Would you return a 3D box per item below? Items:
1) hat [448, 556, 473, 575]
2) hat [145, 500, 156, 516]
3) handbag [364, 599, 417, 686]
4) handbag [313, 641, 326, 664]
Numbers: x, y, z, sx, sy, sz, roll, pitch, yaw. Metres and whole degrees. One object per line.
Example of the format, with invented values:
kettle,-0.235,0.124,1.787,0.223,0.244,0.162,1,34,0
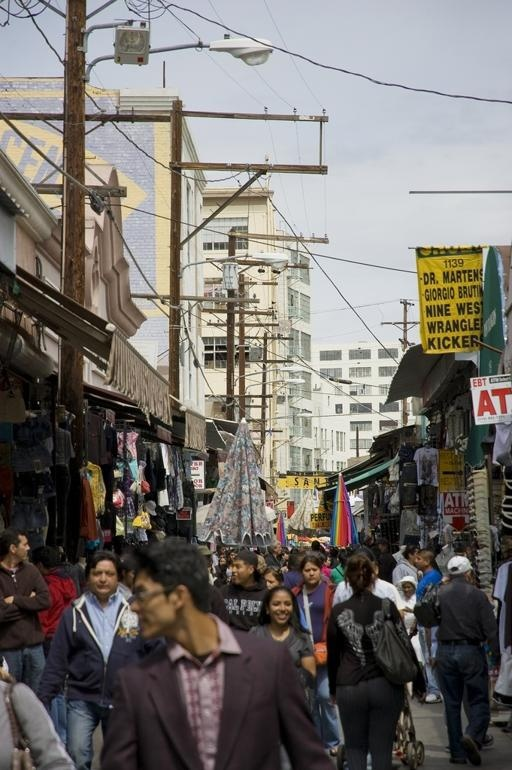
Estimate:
hat,1.694,1.534,9.454,0.129,0.119,0.219,4,14,22
hat,-1.458,1.703,15.623,0.071,0.159,0.162,-31,-55,15
handbag,0.824,1.567,6.839,0.283,0.513,0.389,-2,-9,7
handbag,0.476,1.980,8.337,0.070,0.181,0.170,3,2,19
